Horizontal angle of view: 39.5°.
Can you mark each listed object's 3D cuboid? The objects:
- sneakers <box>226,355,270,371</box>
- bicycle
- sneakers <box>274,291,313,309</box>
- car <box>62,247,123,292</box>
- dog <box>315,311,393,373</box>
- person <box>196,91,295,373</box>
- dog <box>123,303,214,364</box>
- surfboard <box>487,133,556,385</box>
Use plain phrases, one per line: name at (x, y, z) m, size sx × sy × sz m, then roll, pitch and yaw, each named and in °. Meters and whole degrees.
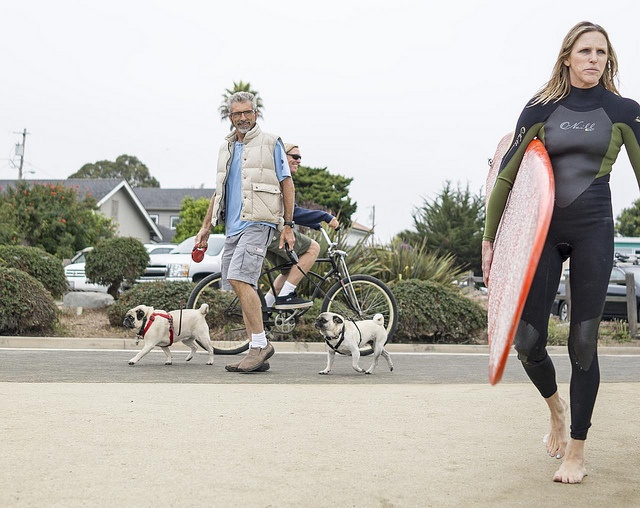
sneakers at (-0.615, 0.956, 7.798) m, size 0.396 × 0.185 × 0.133 m, roll 5°, pitch -6°, yaw -22°
bicycle at (-0.243, 0.335, 9.227) m, size 2.185 × 1.393 × 1.227 m, roll -3°, pitch 3°, yaw -9°
sneakers at (-0.261, 0.439, 8.569) m, size 0.341 × 0.162 × 0.153 m, roll -1°, pitch -3°, yaw -1°
car at (-5.208, 0.393, 19.593) m, size 1.094 × 1.063 × 1.933 m, roll -1°, pitch -6°, yaw 9°
dog at (0.331, 0.803, 8.001) m, size 0.894 × 0.568 × 0.303 m, roll 6°, pitch -10°, yaw -41°
person at (-0.676, -0.180, 7.795) m, size 0.860 × 2.421 × 0.572 m, roll 3°, pitch 2°, yaw 39°
dog at (-1.504, 0.756, 8.510) m, size 1.104 × 0.765 × 0.399 m, roll 2°, pitch -7°, yaw -19°
surfboard at (1.085, 0.000, 4.756) m, size 0.088 × 0.406 × 1.452 m, roll 11°, pitch -29°, yaw -1°
